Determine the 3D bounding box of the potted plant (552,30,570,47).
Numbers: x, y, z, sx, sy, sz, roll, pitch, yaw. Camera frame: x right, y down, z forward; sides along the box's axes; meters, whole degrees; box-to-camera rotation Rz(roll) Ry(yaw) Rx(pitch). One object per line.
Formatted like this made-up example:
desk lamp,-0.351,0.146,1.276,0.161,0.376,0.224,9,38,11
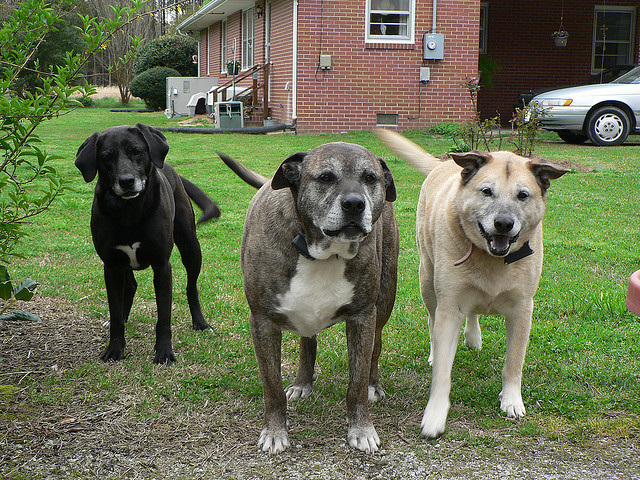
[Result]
potted plant,8.579,-7.255,20.750,0.473,0.631,1.288,4,12,21

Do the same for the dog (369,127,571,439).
dog,1.244,0.251,4.637,0.943,1.931,1.634,0,11,2

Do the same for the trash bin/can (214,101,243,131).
trash bin/can,-2.811,-3.859,17.843,0.825,0.789,1.352,-2,12,-9

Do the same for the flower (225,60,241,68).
flower,-3.480,-7.024,23.181,0.437,0.253,0.448,0,6,-7

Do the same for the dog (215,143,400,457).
dog,-0.040,0.335,4.068,1.116,2.022,0.925,1,11,5

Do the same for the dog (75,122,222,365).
dog,-1.478,-0.040,5.227,0.803,1.991,1.265,5,12,24
